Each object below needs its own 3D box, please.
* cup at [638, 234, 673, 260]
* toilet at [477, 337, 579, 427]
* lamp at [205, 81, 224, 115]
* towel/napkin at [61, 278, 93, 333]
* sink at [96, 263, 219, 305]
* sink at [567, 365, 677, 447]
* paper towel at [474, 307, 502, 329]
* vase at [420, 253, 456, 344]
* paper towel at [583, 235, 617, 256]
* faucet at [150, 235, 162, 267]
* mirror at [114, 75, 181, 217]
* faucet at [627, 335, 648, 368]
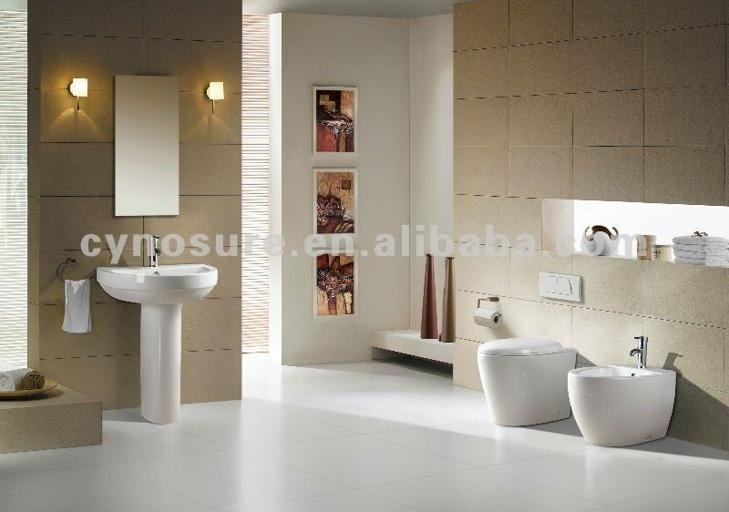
[{"bbox_3d":[2.166,-0.063,4.475,0.248,0.192,0.221,2,3,25],"label":"cup"},{"bbox_3d":[1.282,0.980,4.808,0.739,0.638,0.555,-4,4,-1],"label":"toilet"},{"bbox_3d":[-1.268,-1.345,5.092,0.160,0.271,0.096,0,2,-16],"label":"lamp"},{"bbox_3d":[-2.285,0.411,4.775,0.196,0.441,0.102,0,3,-27],"label":"towel/napkin"},{"bbox_3d":[-1.612,0.230,4.692,0.901,0.276,0.570,2,3,19],"label":"sink"},{"bbox_3d":[1.804,1.027,4.182,0.670,0.463,0.527,2,-4,-30],"label":"sink"},{"bbox_3d":[1.099,0.547,5.349,0.163,0.188,0.217,-7,4,-37],"label":"paper towel"},{"bbox_3d":[0.779,0.440,6.124,0.209,0.882,0.613,0,3,-22],"label":"vase"},{"bbox_3d":[1.853,-0.093,4.722,0.252,0.186,0.078,2,3,20],"label":"paper towel"},{"bbox_3d":[-1.721,-0.037,4.938,0.078,0.255,0.217,0,3,-18],"label":"faucet"},{"bbox_3d":[-1.790,-0.902,4.929,0.483,1.146,0.036,0,2,-21],"label":"mirror"},{"bbox_3d":[2.002,0.698,4.376,0.115,0.222,0.290,2,3,25],"label":"faucet"}]
